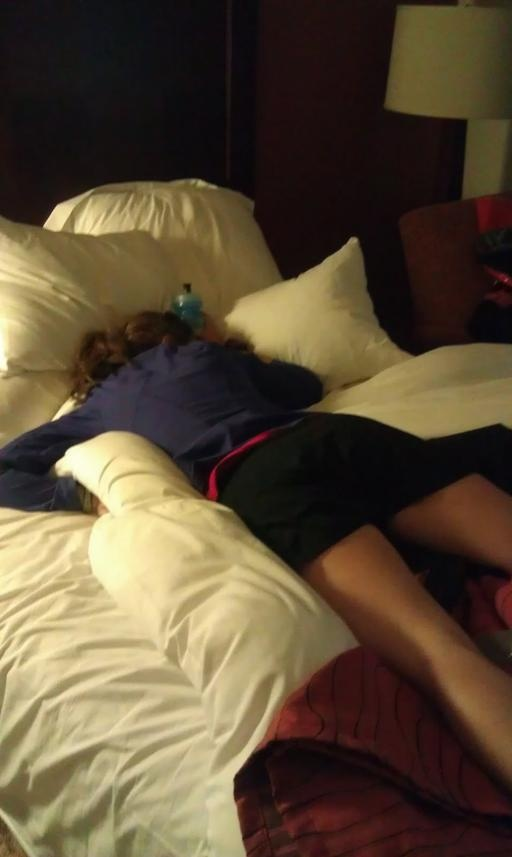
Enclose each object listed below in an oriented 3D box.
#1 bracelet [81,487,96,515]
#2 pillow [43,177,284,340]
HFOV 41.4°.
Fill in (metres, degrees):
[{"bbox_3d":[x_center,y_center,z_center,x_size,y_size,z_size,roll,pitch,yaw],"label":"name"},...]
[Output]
[{"bbox_3d":[-0.298,0.128,1.199,0.021,0.041,0.031,0,22,35],"label":"bracelet"},{"bbox_3d":[-0.284,-0.496,2.057,0.514,0.153,0.519,-12,69,-37],"label":"pillow"}]
